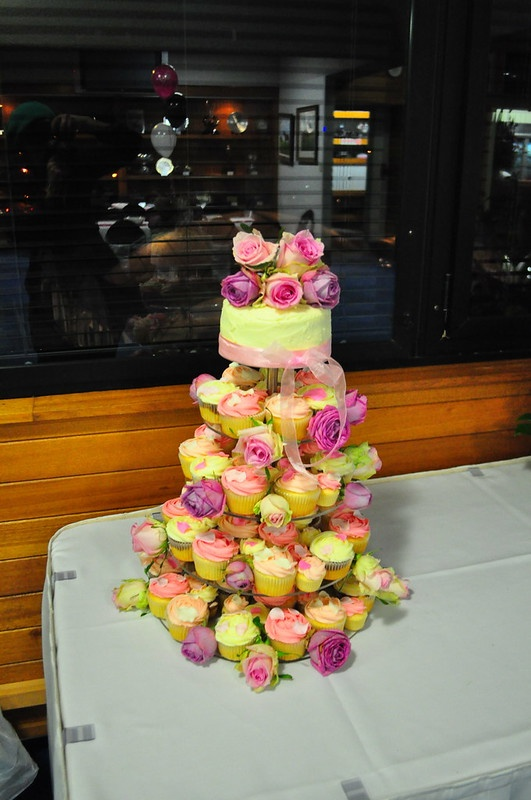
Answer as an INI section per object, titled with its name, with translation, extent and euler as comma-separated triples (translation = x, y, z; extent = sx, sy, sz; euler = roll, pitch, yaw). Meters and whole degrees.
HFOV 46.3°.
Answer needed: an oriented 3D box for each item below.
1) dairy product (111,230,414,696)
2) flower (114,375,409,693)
[dairy product]
translation = 0.080, 0.039, 0.962
extent = 0.518, 0.564, 0.520
euler = 2, 20, -5
[flower]
translation = 0.012, 0.154, 0.906
extent = 0.389, 0.365, 0.379
euler = 1, 17, -2
